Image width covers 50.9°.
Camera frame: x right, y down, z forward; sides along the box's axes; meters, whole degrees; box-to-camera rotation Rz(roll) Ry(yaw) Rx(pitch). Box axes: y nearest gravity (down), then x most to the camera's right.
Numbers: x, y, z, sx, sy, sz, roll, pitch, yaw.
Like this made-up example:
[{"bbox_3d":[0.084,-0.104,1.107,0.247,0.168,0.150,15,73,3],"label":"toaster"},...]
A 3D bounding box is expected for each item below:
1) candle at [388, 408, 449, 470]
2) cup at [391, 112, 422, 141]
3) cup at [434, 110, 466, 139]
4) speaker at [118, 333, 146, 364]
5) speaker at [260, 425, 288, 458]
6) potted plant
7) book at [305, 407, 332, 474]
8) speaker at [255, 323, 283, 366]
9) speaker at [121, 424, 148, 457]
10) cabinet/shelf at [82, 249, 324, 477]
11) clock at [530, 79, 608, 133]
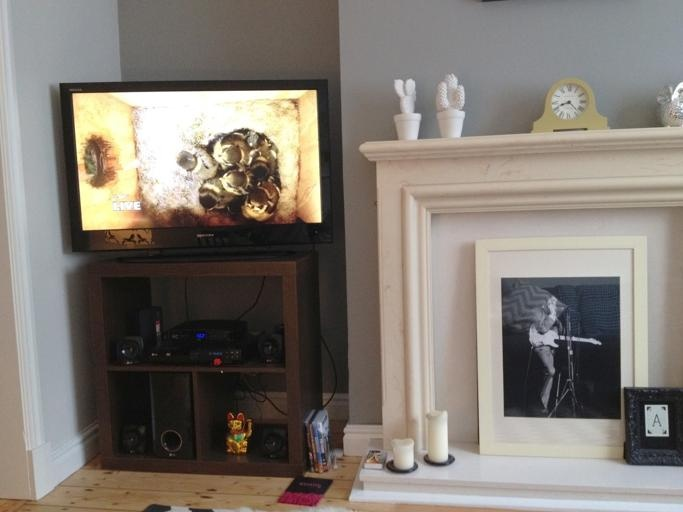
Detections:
[{"bbox_3d":[0.386,0.885,3.490,0.334,0.275,0.215,0,1,-5],"label":"candle"},{"bbox_3d":[0.324,-0.632,3.535,0.146,0.112,0.137,0,-2,0],"label":"cup"},{"bbox_3d":[0.532,-0.637,3.503,0.137,0.124,0.139,0,-2,0],"label":"cup"},{"bbox_3d":[-1.083,0.479,3.716,0.125,0.135,0.046,3,5,-1],"label":"speaker"},{"bbox_3d":[-0.338,0.945,3.639,0.128,0.157,0.084,0,1,0],"label":"speaker"},{"bbox_3d":[0.446,-0.747,3.512,0.400,0.343,0.153,0,-2,9],"label":"potted plant"},{"bbox_3d":[-0.108,0.942,3.695,0.236,0.220,0.242,-3,6,3],"label":"book"},{"bbox_3d":[-0.356,0.446,3.571,0.167,0.162,0.064,1,6,10],"label":"speaker"},{"bbox_3d":[-1.054,0.941,3.699,0.142,0.136,0.138,-2,29,-11],"label":"speaker"},{"bbox_3d":[-0.722,0.568,3.705,1.184,1.089,0.604,-1,0,2],"label":"cabinet/shelf"},{"bbox_3d":[1.090,-0.720,3.418,0.346,0.249,0.043,-3,7,3],"label":"clock"}]
